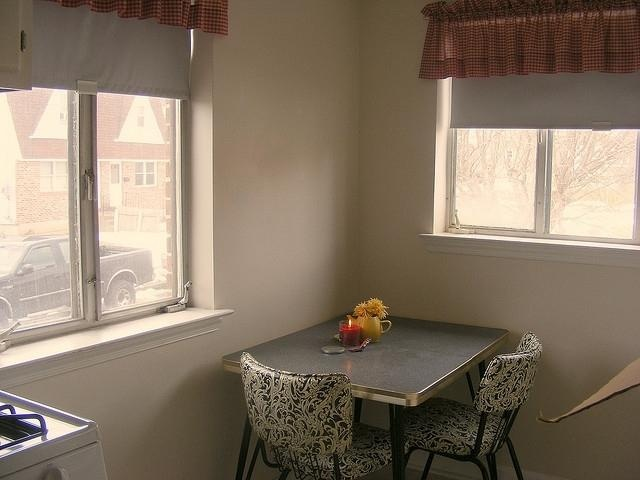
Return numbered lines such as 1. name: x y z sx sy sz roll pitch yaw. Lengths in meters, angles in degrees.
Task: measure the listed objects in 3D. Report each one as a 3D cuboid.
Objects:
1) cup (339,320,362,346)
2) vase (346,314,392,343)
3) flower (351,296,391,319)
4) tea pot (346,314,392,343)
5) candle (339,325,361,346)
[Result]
1. cup: 0.148 0.478 2.486 0.109 0.128 0.110 -1 3 0
2. vase: 0.261 0.461 2.637 0.217 0.202 0.127 -2 3 30
3. flower: 0.259 0.367 2.623 0.169 0.129 0.177 -4 -4 -17
4. tea pot: 0.262 0.474 2.626 0.207 0.193 0.132 0 -5 0
5. candle: 0.150 0.486 2.483 0.084 0.101 0.100 0 1 5
